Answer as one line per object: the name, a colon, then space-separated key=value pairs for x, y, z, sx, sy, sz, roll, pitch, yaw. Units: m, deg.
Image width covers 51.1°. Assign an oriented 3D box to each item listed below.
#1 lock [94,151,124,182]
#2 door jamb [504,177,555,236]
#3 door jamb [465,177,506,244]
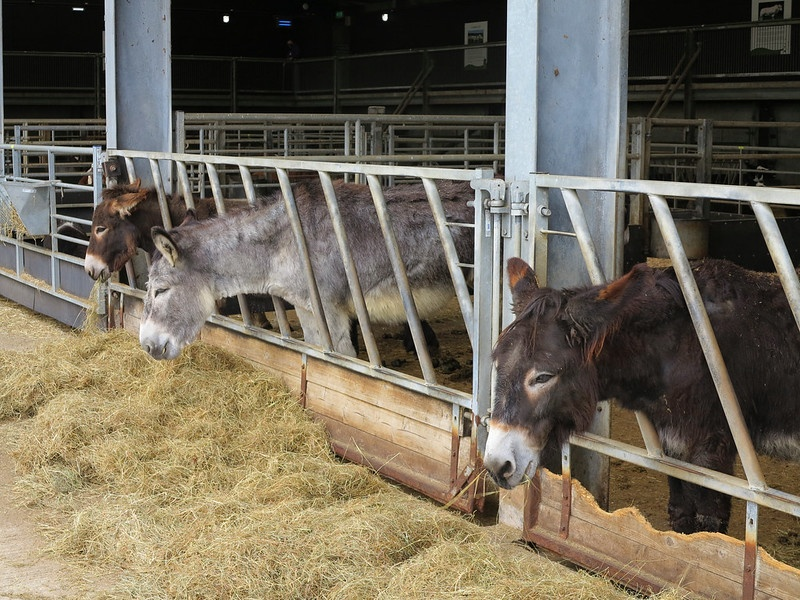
lock: x=-2.418 y=-1.124 z=7.029 sx=0.173 sy=0.280 sz=0.257 roll=-13 pitch=23 yaw=-28
door jamb: x=0.611 y=-0.447 z=4.026 sx=0.204 sy=0.332 sz=0.133 roll=2 pitch=10 yaw=9
door jamb: x=0.435 y=-0.421 z=4.133 sx=0.174 sy=0.428 sz=0.075 roll=3 pitch=11 yaw=13
